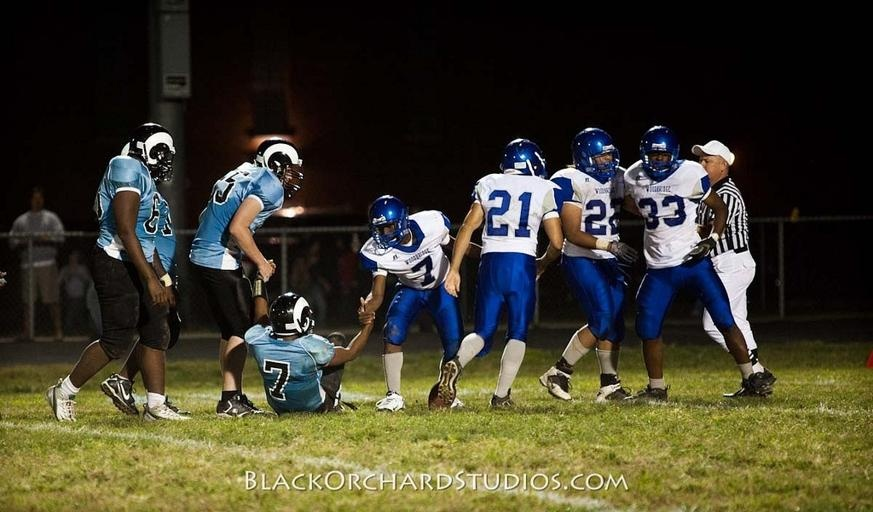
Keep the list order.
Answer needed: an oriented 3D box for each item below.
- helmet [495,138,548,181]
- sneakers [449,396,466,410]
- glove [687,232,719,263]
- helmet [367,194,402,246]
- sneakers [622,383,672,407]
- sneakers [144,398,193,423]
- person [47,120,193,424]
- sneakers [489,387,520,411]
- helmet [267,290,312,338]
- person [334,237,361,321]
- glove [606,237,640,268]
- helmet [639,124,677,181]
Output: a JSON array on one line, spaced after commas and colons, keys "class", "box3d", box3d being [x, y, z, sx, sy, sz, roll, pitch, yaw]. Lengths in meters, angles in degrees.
[{"class": "helmet", "box3d": [1.111, -1.272, 11.187, 0.620, 0.543, 0.483, -4, 17, -3]}, {"class": "sneakers", "box3d": [0.257, 1.872, 10.914, 0.155, 0.145, 0.163, 12, -3, 17]}, {"class": "glove", "box3d": [3.399, -0.132, 11.101, 0.442, 0.158, 0.236, -35, -23, -19]}, {"class": "helmet", "box3d": [-0.534, -0.452, 10.825, 0.481, 0.487, 0.564, -2, 18, 11]}, {"class": "sneakers", "box3d": [2.699, 1.828, 11.125, 0.616, 0.241, 0.217, -1, -7, 2]}, {"class": "sneakers", "box3d": [-3.333, 1.899, 10.614, 0.690, 0.274, 0.237, 2, 2, -8]}, {"class": "person", "box3d": [-3.852, 0.275, 10.520, 1.563, 3.595, 1.163, -5, 14, -19]}, {"class": "sneakers", "box3d": [0.856, 1.829, 10.883, 0.148, 0.224, 0.417, 3, 2, 44]}, {"class": "helmet", "box3d": [-1.797, 0.719, 10.492, 0.489, 0.537, 0.611, 1, 6, 8]}, {"class": "person", "box3d": [-1.929, 0.497, 18.822, 0.634, 1.770, 0.472, 1, 5, 13]}, {"class": "glove", "box3d": [2.362, -0.029, 11.048, 0.438, 0.227, 0.137, 30, -25, -7]}, {"class": "helmet", "box3d": [2.883, -1.243, 11.307, 0.491, 0.570, 0.657, 1, -11, 12]}]
